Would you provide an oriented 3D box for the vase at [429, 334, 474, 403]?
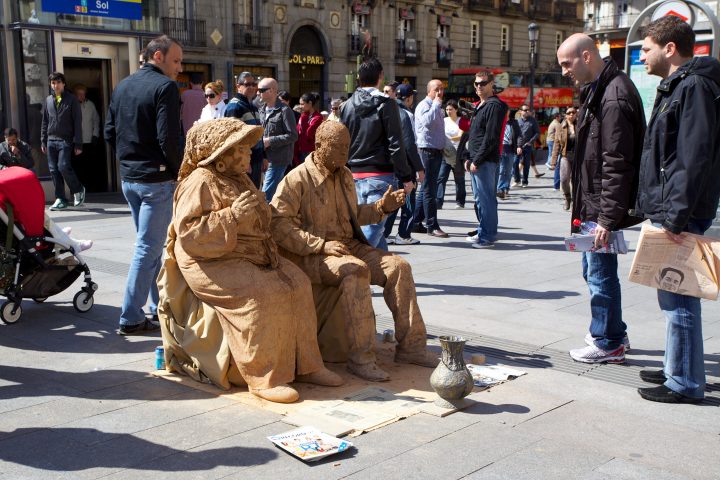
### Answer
[{"bbox_3d":[0.700,1.002,5.275,0.477,0.602,0.449,0,2,6],"label":"vase"}]

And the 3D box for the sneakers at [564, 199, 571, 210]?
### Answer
[{"bbox_3d":[4.645,-0.776,14.765,0.168,0.198,0.501,0,8,9],"label":"sneakers"}]

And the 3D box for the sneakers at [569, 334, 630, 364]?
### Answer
[{"bbox_3d":[2.177,0.995,6.026,0.578,0.272,0.217,3,3,3],"label":"sneakers"}]

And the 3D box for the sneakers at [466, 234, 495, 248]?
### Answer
[{"bbox_3d":[1.968,0.032,10.798,0.467,0.198,0.172,8,10,9],"label":"sneakers"}]

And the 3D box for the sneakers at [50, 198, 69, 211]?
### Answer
[{"bbox_3d":[-6.434,-0.748,14.125,0.198,0.195,0.432,0,4,14],"label":"sneakers"}]

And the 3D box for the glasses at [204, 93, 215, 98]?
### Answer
[{"bbox_3d":[-2.687,-2.583,11.883,0.119,0.038,0.124,2,5,17],"label":"glasses"}]

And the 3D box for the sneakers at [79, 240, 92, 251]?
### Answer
[{"bbox_3d":[-3.204,0.063,7.670,0.118,0.136,0.317,-6,0,-32],"label":"sneakers"}]

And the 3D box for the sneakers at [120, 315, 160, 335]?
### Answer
[{"bbox_3d":[-2.251,0.886,6.723,0.173,0.176,0.421,16,15,37],"label":"sneakers"}]
